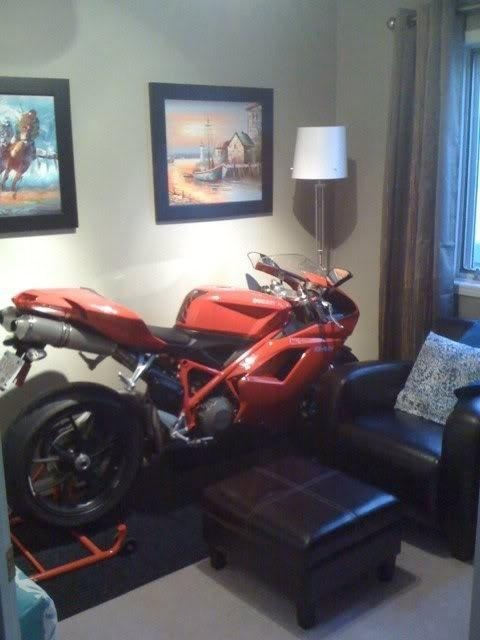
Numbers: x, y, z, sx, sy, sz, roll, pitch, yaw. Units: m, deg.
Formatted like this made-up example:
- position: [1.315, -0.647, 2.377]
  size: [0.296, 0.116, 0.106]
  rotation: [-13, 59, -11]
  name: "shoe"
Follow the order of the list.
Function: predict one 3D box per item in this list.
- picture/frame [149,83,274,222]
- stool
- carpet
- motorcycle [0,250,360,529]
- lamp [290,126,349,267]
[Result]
- position: [-0.183, -0.946, 2.730]
  size: [0.741, 0.728, 0.033]
  rotation: [-15, 24, -34]
  name: "picture/frame"
- position: [0.244, 0.605, 1.603]
  size: [0.436, 0.273, 0.440]
  rotation: [-7, 13, -38]
  name: "stool"
- position: [-0.407, 0.822, 1.961]
  size: [0.597, 0.070, 0.841]
  rotation: [9, 14, 43]
  name: "carpet"
- position: [-0.219, 0.091, 2.656]
  size: [2.050, 1.098, 0.765]
  rotation: [-16, 21, -33]
  name: "motorcycle"
- position: [0.451, -0.707, 2.908]
  size: [0.335, 0.887, 1.032]
  rotation: [1, 10, 12]
  name: "lamp"
